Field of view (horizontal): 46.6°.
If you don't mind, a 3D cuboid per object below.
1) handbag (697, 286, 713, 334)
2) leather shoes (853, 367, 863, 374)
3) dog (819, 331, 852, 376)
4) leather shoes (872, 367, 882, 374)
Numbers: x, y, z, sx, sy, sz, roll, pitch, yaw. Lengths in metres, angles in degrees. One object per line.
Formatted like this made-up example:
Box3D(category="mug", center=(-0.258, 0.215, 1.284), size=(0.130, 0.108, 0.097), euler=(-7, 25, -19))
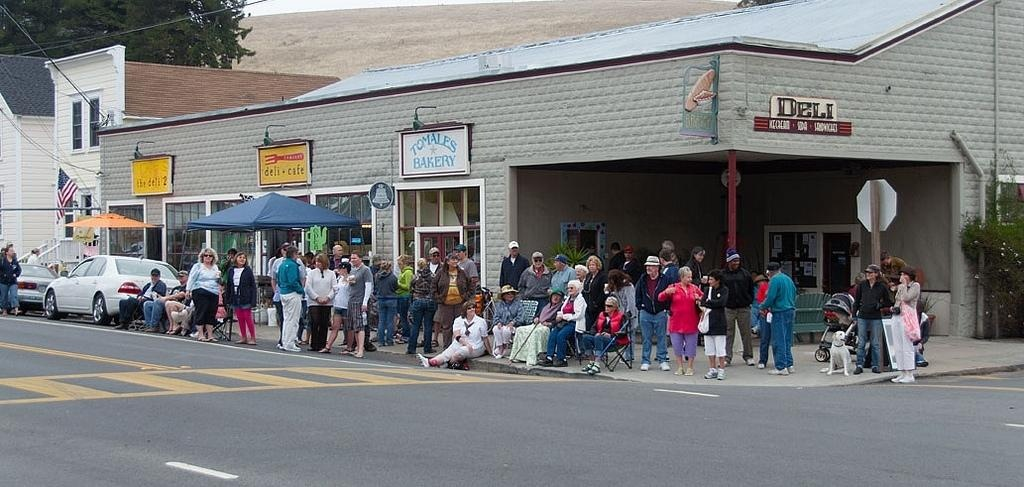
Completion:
Box3D(category="handbag", center=(6.660, 2.329, 41.188), size=(0.512, 1.623, 0.237), euler=(-4, -8, 37))
Box3D(category="leather shoes", center=(12.053, 4.428, 41.348), size=(0.305, 0.245, 0.200), euler=(0, -6, 6))
Box3D(category="dog", center=(11.260, 3.820, 41.429), size=(1.014, 1.540, 0.755), euler=(-4, -8, 41))
Box3D(category="leather shoes", center=(12.723, 4.419, 41.426), size=(0.302, 0.209, 0.177), euler=(0, -6, 14))
